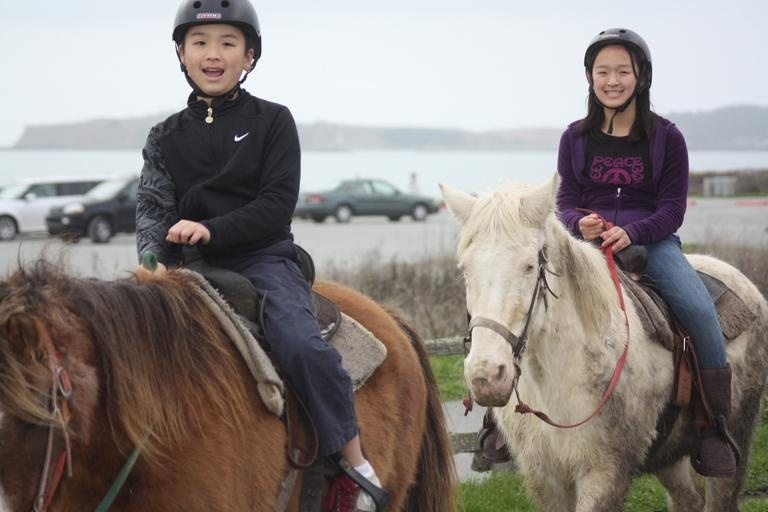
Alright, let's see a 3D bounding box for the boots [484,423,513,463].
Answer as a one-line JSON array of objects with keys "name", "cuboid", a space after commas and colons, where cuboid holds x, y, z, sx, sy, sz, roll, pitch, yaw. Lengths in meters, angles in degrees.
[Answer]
[{"name": "boots", "cuboid": [0.989, 1.674, 10.933, 0.211, 0.314, 0.317, 0, -7, -1]}]
